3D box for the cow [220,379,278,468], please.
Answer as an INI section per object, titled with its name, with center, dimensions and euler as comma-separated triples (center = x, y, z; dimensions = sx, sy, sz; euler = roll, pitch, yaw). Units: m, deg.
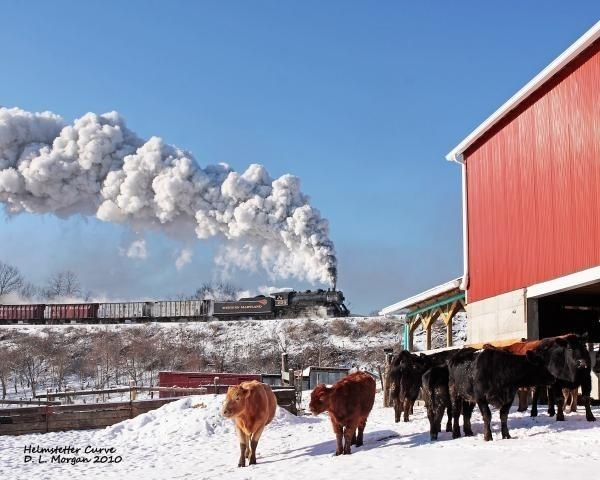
[cow]
center = -1.269, 4.620, 20.689
dimensions = 0.851, 2.188, 1.767
euler = 0, 9, 14
